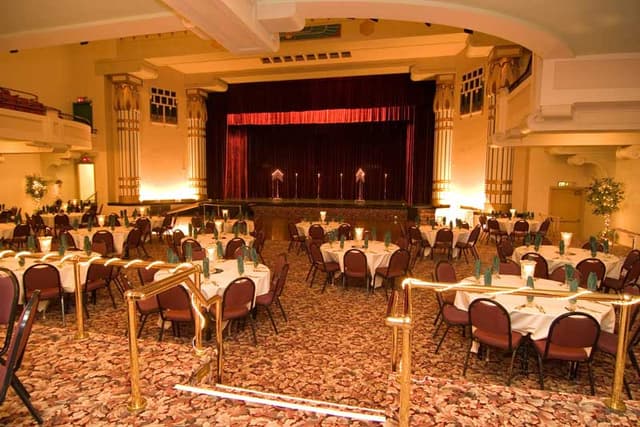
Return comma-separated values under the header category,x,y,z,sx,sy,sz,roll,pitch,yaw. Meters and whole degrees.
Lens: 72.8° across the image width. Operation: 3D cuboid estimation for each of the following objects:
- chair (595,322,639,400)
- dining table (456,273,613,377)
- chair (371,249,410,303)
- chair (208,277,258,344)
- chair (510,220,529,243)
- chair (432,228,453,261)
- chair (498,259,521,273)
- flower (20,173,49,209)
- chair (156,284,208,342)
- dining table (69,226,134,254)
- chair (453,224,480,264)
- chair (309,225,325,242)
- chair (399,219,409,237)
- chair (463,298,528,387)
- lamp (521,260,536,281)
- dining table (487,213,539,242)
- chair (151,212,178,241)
category,x,y,z,sx,sy,sz,roll,pitch,yaw
chair,5.213,2.395,7.569,0.571,1.177,1.186,3,5,38
dining table,3.867,1.708,8.236,1.905,0.692,1.912,2,0,4
chair,1.699,1.370,10.487,0.806,1.146,0.974,-1,4,6
chair,-1.643,1.788,8.123,0.856,1.632,0.978,-5,24,-22
chair,6.567,0.538,14.353,0.562,0.686,0.530,1,5,27
chair,3.646,0.885,12.952,0.648,1.204,0.717,3,29,11
chair,4.033,1.122,9.234,0.296,0.408,0.325,8,16,34
flower,-11.348,-0.905,17.503,0.888,1.424,2.112,-4,5,-33
chair,-2.675,1.825,8.056,0.710,1.121,0.492,-2,5,-6
dining table,-6.144,0.636,12.254,1.066,0.386,1.057,3,4,-6
chair,4.522,0.875,13.335,0.669,1.047,1.950,1,4,20
chair,-0.082,0.595,13.178,0.443,0.769,0.487,0,5,1
chair,2.962,0.541,15.364,0.379,0.561,0.518,-2,-7,0
chair,2.988,2.140,7.475,1.004,1.450,0.604,1,5,24
lamp,3.814,1.031,8.141,0.351,0.353,0.339,4,9,20
dining table,6.497,0.383,14.653,1.028,0.530,1.024,2,13,10
chair,-5.330,0.461,14.908,0.755,1.093,0.633,19,20,9
